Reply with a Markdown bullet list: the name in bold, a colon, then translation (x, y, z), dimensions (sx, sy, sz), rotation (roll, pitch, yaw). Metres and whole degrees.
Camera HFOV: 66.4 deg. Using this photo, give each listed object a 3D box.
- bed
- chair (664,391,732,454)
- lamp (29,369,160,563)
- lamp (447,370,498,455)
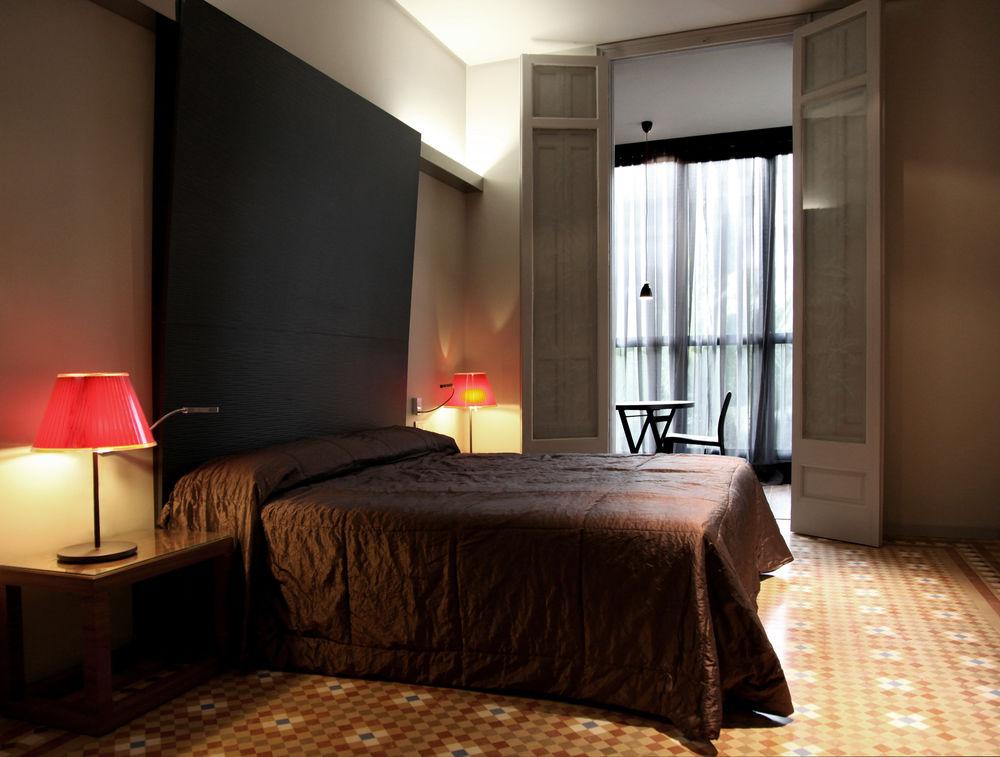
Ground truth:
- **bed**: translation (0.019, 0.851, 3.448), dimensions (1.642, 0.589, 1.517), rotation (0, 4, 19)
- **chair**: translation (1.955, 0.458, 7.436), dimensions (0.640, 0.982, 0.652), rotation (3, 1, 18)
- **lamp**: translation (-1.748, 0.368, 3.294), dimensions (0.431, 0.857, 0.462), rotation (4, 8, 17)
- **lamp**: translation (-0.215, 0.375, 5.892), dimensions (0.371, 0.891, 0.395), rotation (0, 7, 8)
